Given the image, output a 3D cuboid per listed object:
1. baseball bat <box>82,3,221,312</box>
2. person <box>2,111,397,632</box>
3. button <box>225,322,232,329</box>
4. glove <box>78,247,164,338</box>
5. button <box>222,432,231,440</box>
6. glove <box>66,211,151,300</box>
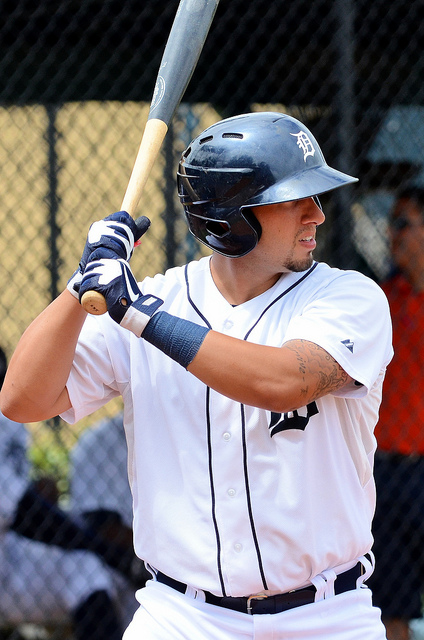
[{"bbox_3d":[-0.100,-0.578,1.931,0.165,1.198,0.094,23,-25,-12],"label":"baseball bat"},{"bbox_3d":[0.030,0.099,1.657,0.849,1.113,0.479,7,15,11],"label":"person"},{"bbox_3d":[0.039,0.012,1.702,0.010,0.013,0.020,-3,15,-29],"label":"button"},{"bbox_3d":[-0.182,-0.048,1.471,0.168,0.134,0.085,12,16,30],"label":"glove"},{"bbox_3d":[0.032,0.247,1.586,0.021,0.014,0.010,7,14,12],"label":"button"},{"bbox_3d":[-0.191,-0.155,1.651,0.176,0.208,0.078,3,-34,35],"label":"glove"}]
